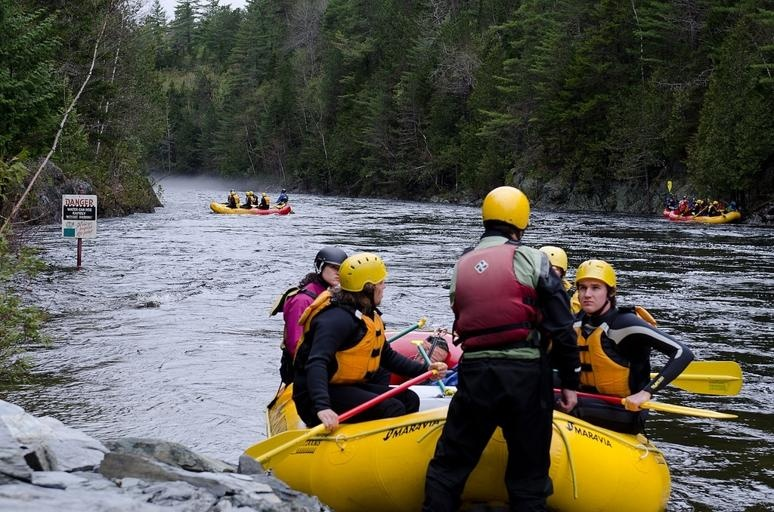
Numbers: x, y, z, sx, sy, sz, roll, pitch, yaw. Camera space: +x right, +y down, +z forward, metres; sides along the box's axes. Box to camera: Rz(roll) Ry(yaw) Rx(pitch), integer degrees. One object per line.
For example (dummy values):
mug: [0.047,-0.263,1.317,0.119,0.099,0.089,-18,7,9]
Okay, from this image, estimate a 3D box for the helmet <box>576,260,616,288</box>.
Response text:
helmet: [2.404,0.178,9.244,0.281,0.415,0.296,-1,6,17]

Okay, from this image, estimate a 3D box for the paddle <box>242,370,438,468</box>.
paddle: [-0.455,1.894,9.172,2.493,0.213,0.223,-23,-20,-23]

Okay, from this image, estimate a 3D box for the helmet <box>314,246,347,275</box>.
helmet: [-0.749,0.038,10.654,0.395,0.357,0.334,33,18,25]

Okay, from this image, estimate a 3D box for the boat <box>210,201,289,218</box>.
boat: [-6.952,-2.314,41.600,3.250,0.715,1.504,2,0,-6]

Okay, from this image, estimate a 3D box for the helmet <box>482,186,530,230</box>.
helmet: [1.267,-0.519,8.584,0.373,0.483,0.496,9,9,20]

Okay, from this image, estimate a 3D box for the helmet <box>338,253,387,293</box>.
helmet: [-0.283,0.216,9.211,0.495,0.410,0.381,7,-7,-15]
